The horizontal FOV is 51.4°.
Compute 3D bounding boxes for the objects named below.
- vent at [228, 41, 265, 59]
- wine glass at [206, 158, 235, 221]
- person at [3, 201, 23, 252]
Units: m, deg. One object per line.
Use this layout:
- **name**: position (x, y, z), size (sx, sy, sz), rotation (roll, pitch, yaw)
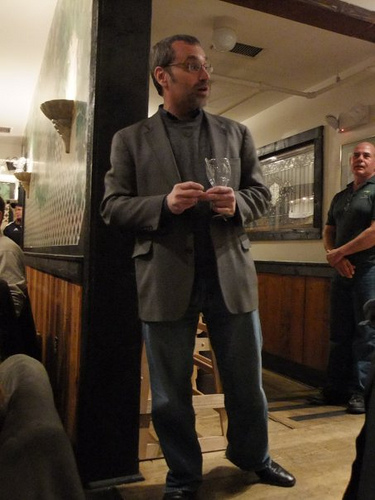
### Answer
- **vent**: position (0.544, -1.788, 3.532), size (0.286, 0.035, 0.209), rotation (5, -9, -25)
- **wine glass**: position (0.108, -0.205, 1.279), size (0.082, 0.182, 0.079), rotation (-21, 28, -17)
- **person**: position (-2.843, -0.418, 6.394), size (0.213, 0.947, 1.305), rotation (5, -9, -28)
